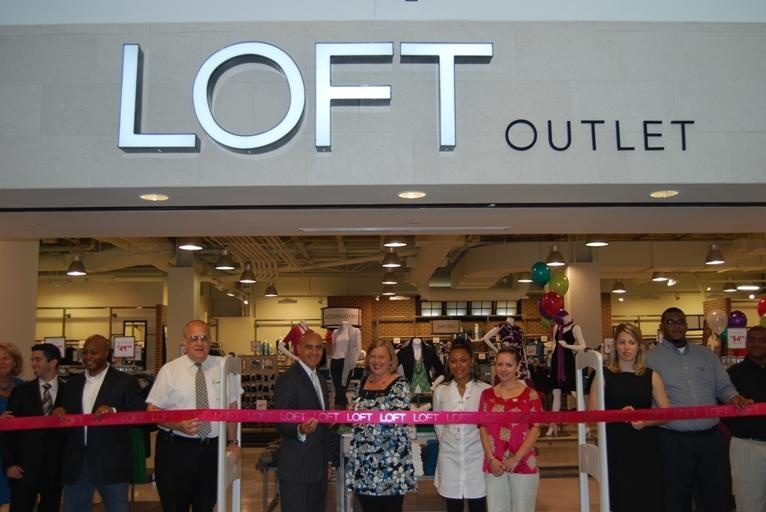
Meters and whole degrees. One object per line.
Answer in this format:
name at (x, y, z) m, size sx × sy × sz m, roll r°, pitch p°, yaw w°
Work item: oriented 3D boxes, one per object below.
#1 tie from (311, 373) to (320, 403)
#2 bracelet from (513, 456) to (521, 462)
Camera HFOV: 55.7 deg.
tie at (-0.648, 1.289, 7.168) m, size 0.055 × 0.172 × 0.245 m, roll -16°, pitch -55°, yaw 3°
bracelet at (1.257, 1.903, 6.810) m, size 0.056 × 0.017 × 0.058 m, roll 0°, pitch -2°, yaw 36°
